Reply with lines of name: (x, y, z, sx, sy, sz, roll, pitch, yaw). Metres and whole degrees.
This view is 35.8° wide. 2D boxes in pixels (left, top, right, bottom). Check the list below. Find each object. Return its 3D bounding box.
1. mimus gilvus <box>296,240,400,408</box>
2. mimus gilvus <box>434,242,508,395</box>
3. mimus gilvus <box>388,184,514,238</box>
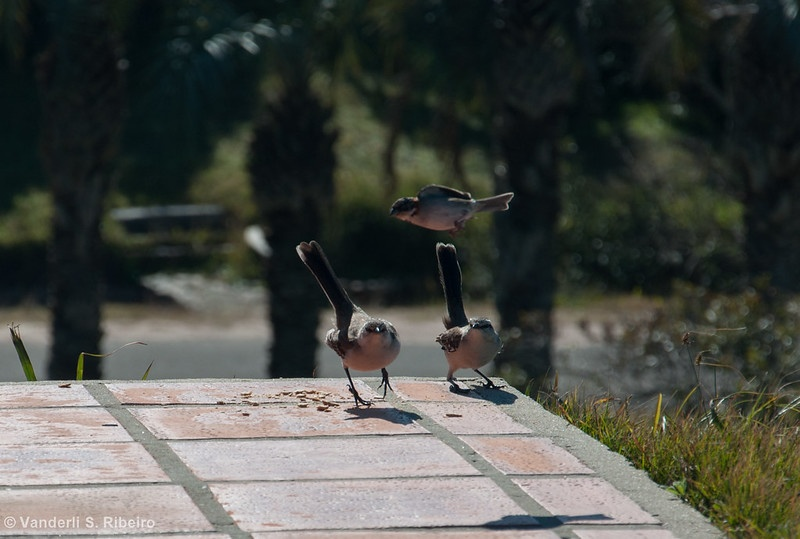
mimus gilvus: (-0.388, 0.464, 10.250, 0.375, 1.391, 0.899, -5, 7, -44)
mimus gilvus: (0.589, 0.425, 10.731, 0.517, 1.288, 0.758, -1, 5, -1)
mimus gilvus: (0.392, -0.475, 9.317, 0.867, 0.303, 0.368, -13, -33, 10)
